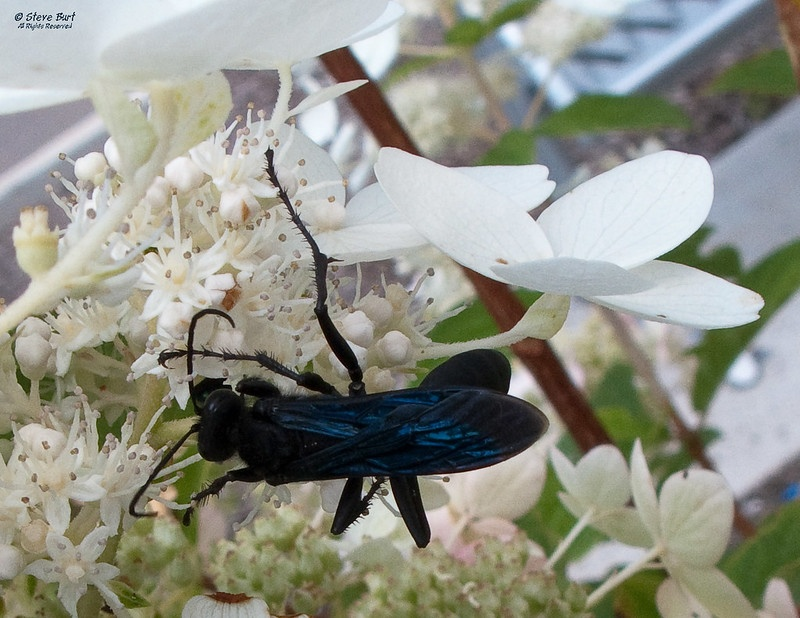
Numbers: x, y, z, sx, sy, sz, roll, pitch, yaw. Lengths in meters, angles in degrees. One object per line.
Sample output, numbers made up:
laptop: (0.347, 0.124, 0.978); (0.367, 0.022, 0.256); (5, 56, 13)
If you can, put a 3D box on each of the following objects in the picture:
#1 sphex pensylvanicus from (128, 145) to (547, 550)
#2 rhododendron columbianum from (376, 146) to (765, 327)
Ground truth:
sphex pensylvanicus: (-0.103, 0.123, 1.299); (0.412, 0.401, 0.124); (-2, 9, -12)
rhododendron columbianum: (0.152, -0.068, 1.132); (0.271, 0.092, 0.205); (8, 13, -5)
